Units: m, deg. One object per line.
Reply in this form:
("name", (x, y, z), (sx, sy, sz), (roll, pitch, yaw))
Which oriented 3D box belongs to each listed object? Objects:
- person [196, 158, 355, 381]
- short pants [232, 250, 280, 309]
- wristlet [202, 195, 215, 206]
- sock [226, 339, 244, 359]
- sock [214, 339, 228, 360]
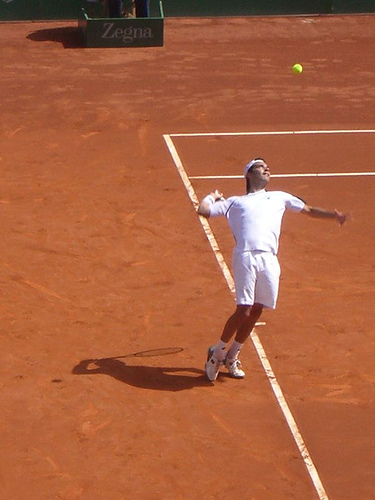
("person", (0.585, 0.373, 5.341), (0.827, 1.754, 0.671), (-12, 21, -40))
("short pants", (0.575, 0.244, 5.075), (0.490, 0.504, 0.319), (10, -28, -18))
("wristlet", (0.177, -0.419, 5.168), (0.111, 0.082, 0.094), (-3, 15, -5))
("sock", (0.424, 0.900, 5.467), (0.079, 0.223, 0.170), (-5, 16, -20))
("sock", (0.292, 0.885, 5.346), (0.094, 0.234, 0.127), (0, 16, -4))
